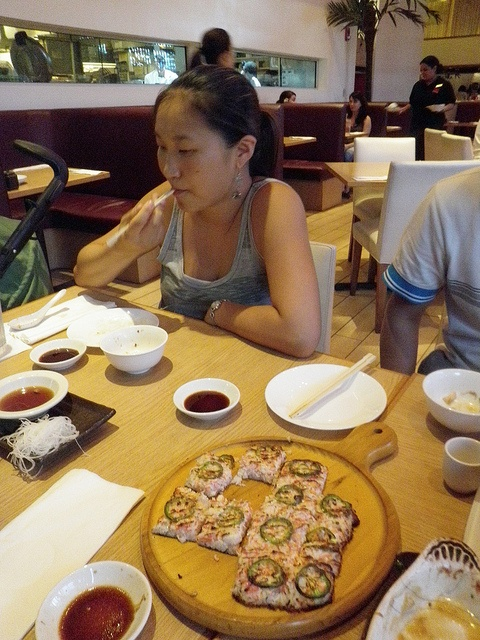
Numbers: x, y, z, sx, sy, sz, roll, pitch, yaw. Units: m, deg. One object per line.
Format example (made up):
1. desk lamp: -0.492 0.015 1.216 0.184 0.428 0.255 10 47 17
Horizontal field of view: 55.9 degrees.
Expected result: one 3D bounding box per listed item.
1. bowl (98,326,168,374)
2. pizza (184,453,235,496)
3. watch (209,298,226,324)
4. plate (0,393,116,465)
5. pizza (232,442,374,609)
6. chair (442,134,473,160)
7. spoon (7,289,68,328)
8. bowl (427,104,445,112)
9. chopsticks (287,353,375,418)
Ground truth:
1. bowl: -0.249 0.071 1.101 0.122 0.062 0.125 -3 32 2
2. pizza: -0.042 0.232 0.695 0.060 0.026 0.087 18 24 20
3. watch: -0.064 -0.025 1.330 0.047 0.062 0.022 11 4 -12
4. plate: -0.344 0.201 0.863 0.163 0.037 0.167 14 30 32
5. pizza: 0.086 0.265 0.600 0.139 0.028 0.281 -1 13 13
6. chair: 1.746 -1.367 3.640 0.218 0.208 0.663 6 27 19
7. spoon: -0.600 -0.045 1.333 0.044 0.029 0.196 9 30 15
8. bowl: 3.035 -3.267 6.989 0.336 0.119 0.238 -18 29 -29
9. chopsticks: 0.194 0.143 0.963 0.027 0.011 0.237 17 31 36
